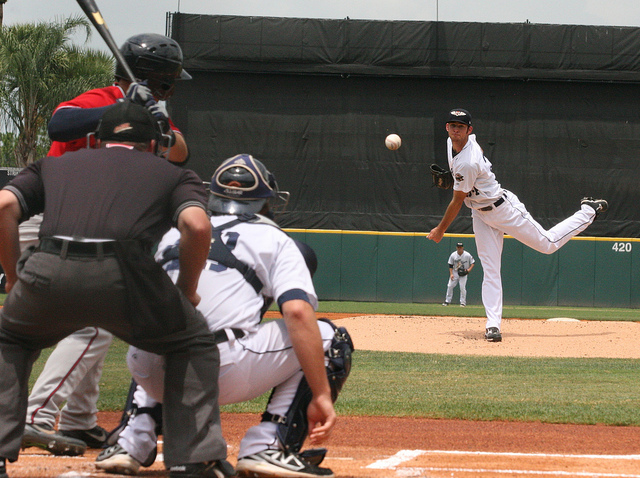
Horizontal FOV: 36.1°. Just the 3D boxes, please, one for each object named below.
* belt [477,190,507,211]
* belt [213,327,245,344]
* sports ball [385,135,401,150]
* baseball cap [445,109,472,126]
[{"bbox_3d":[2.045,-0.453,11.514,0.309,0.235,0.166,0,-2,9],"label":"belt"},{"bbox_3d":[-0.689,0.717,7.328,0.229,0.119,0.031,1,-2,-17],"label":"belt"},{"bbox_3d":[1.519,-2.073,20.956,0.306,0.175,0.314,0,11,0],"label":"sports ball"},{"bbox_3d":[1.641,-1.402,11.359,0.258,0.185,0.360,12,-3,22],"label":"baseball cap"}]
